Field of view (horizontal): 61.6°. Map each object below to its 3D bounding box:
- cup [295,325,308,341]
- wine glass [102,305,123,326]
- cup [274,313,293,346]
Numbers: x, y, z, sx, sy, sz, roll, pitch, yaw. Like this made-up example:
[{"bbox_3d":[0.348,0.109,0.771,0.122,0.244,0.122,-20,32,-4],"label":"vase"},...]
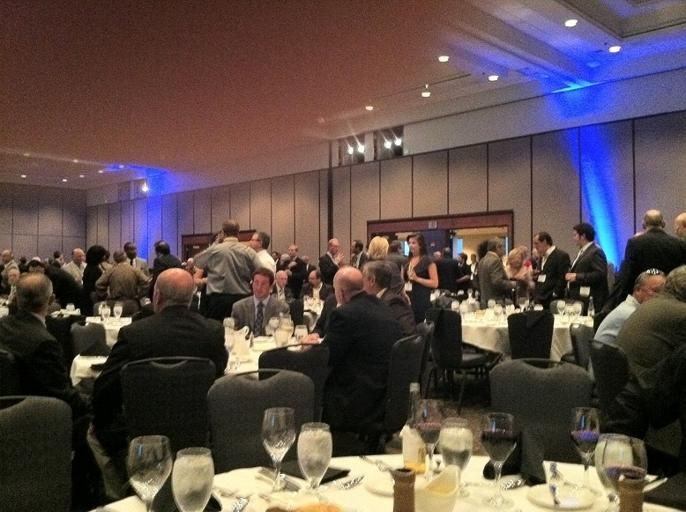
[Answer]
[{"bbox_3d":[-0.304,0.560,4.211,0.091,0.160,0.096,0,1,0],"label":"cup"},{"bbox_3d":[-2.299,0.592,5.726,0.175,0.268,0.278,1,1,-12],"label":"wine glass"},{"bbox_3d":[-0.444,0.560,4.350,0.108,0.220,0.208,0,-7,-1],"label":"cup"}]
